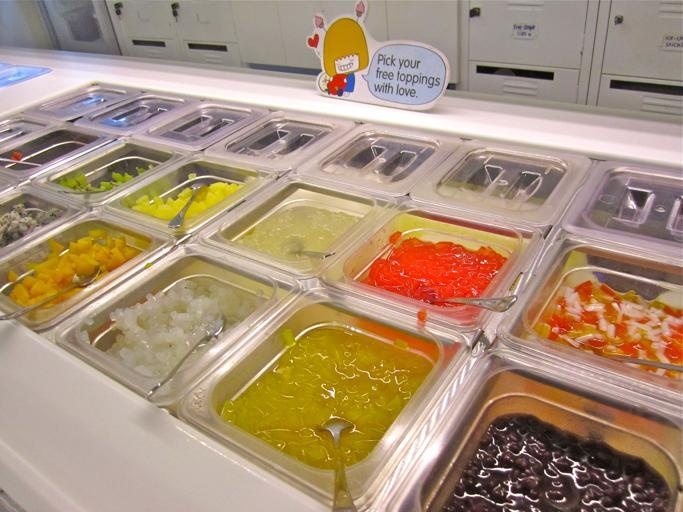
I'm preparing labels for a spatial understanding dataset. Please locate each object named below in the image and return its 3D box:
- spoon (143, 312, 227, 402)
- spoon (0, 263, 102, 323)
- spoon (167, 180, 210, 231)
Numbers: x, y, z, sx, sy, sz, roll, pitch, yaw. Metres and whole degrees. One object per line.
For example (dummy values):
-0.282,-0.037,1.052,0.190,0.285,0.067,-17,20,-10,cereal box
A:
-0.375,0.241,1.165,0.289,0.039,0.050,-42,37,-23,spoon
-0.815,0.106,1.414,0.087,0.052,0.392,6,18,14,spoon
-0.525,-0.162,1.601,0.045,0.035,0.208,-3,37,12,spoon
